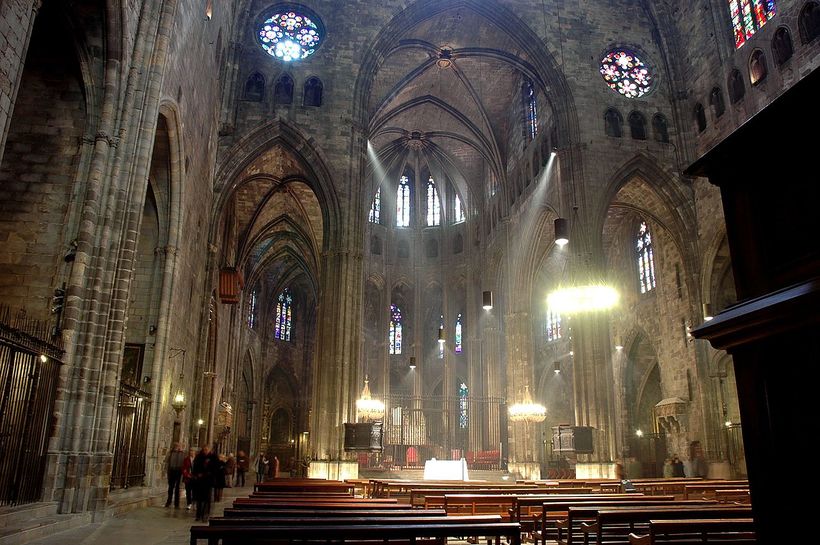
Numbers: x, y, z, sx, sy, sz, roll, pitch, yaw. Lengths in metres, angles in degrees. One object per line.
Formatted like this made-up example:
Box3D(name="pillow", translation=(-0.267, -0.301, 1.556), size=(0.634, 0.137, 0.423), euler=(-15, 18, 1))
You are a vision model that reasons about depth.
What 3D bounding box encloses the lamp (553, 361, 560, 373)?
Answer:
Box3D(name="lamp", translation=(8.534, 5.473, 35.480), size=(0.654, 0.737, 0.662), euler=(0, -9, 14))
